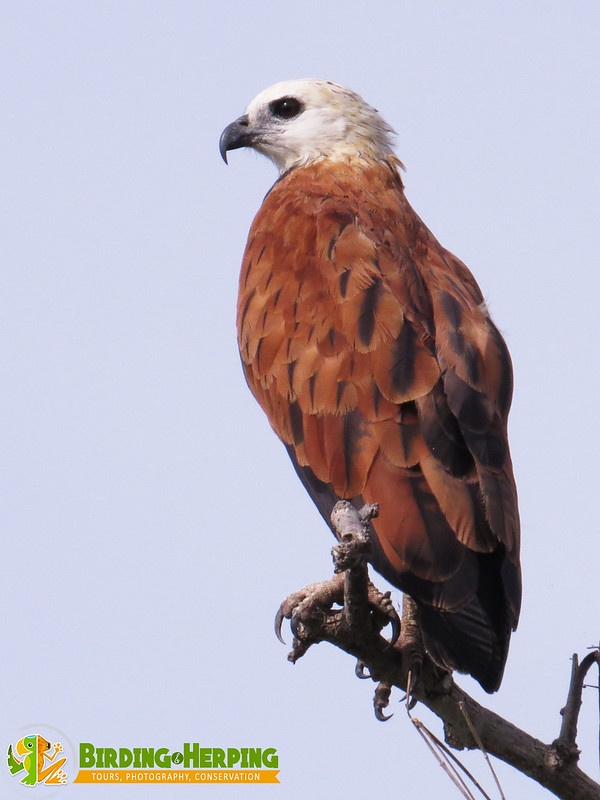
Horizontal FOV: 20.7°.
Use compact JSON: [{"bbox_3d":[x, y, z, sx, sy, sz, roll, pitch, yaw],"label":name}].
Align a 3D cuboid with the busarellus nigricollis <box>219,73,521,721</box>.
[{"bbox_3d":[0.256,-0.333,6.037,1.031,2.865,0.555,-10,-34,20],"label":"busarellus nigricollis"}]
